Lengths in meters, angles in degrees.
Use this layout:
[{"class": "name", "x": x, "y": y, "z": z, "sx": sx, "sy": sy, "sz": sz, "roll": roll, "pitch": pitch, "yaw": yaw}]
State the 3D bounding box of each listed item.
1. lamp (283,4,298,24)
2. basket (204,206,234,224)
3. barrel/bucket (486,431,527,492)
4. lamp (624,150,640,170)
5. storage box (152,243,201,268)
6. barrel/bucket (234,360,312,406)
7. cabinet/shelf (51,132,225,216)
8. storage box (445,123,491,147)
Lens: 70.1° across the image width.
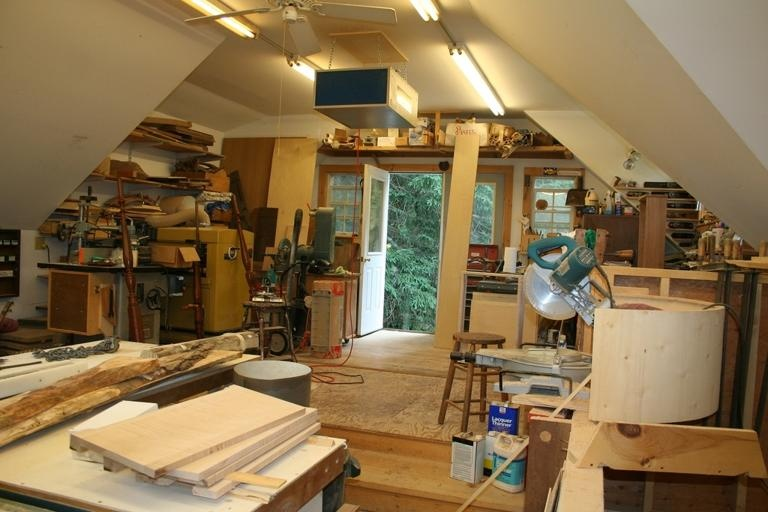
[{"class": "lamp", "x": -0.754, "y": -1.947, "z": 4.448, "sx": 0.115, "sy": 0.106, "sz": 0.144, "roll": -1, "pitch": 6, "yaw": -7}, {"class": "basket", "x": -2.494, "y": -0.541, "z": 8.283, "sx": 0.411, "sy": 0.242, "sz": 0.213, "roll": -2, "pitch": -8, "yaw": 23}, {"class": "barrel/bucket", "x": 0.868, "y": 1.431, "z": 3.789, "sx": 0.229, "sy": 0.343, "sz": 0.370, "roll": 0, "pitch": 6, "yaw": 11}, {"class": "lamp", "x": 3.288, "y": -1.260, "z": 7.207, "sx": 0.181, "sy": 0.242, "sz": 0.440, "roll": 2, "pitch": 6, "yaw": 24}, {"class": "storage box", "x": -2.536, "y": 0.067, "z": 6.657, "sx": 0.486, "sy": 0.179, "sz": 0.324, "roll": 2, "pitch": -2, "yaw": 19}, {"class": "barrel/bucket", "x": -0.600, "y": 0.675, "z": 3.001, "sx": 0.325, "sy": 0.172, "sz": 0.305, "roll": 3, "pitch": -2, "yaw": 0}, {"class": "cabinet/shelf", "x": -3.149, "y": -1.362, "z": 7.750, "sx": 0.827, "sy": 0.880, "sz": 2.092, "roll": 2, "pitch": 6, "yaw": 21}, {"class": "storage box", "x": 1.229, "y": -1.796, "z": 8.157, "sx": 0.692, "sy": 0.368, "sz": 0.217, "roll": 2, "pitch": 6, "yaw": 20}]
